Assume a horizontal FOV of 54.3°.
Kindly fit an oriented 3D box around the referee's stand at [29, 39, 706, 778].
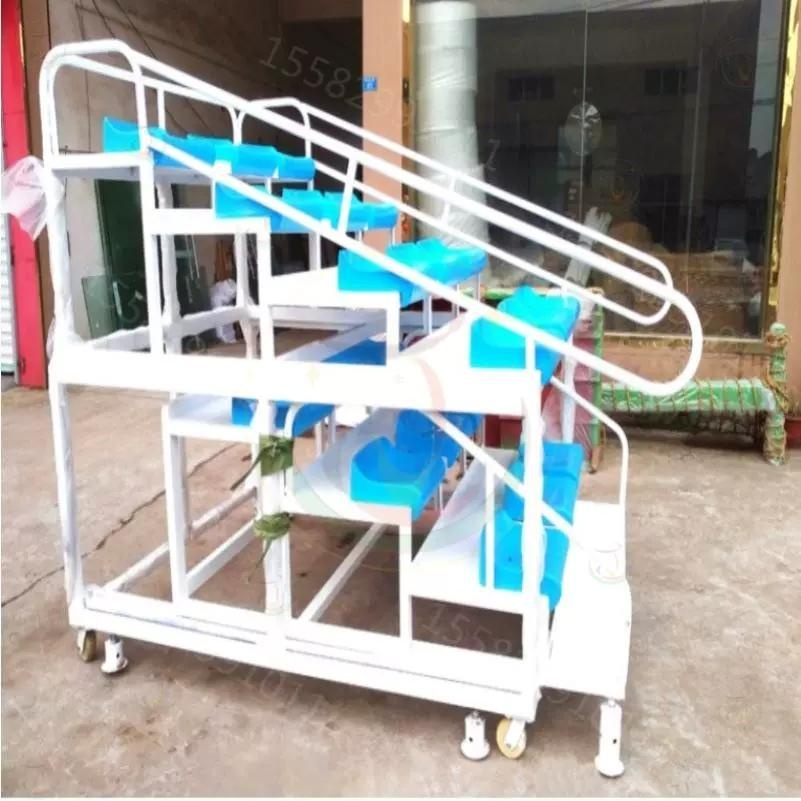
[{"bbox_3d":[-0.061,-0.146,2.460,1.569,1.775,1.253,2,19,7],"label":"referee's stand"}]
